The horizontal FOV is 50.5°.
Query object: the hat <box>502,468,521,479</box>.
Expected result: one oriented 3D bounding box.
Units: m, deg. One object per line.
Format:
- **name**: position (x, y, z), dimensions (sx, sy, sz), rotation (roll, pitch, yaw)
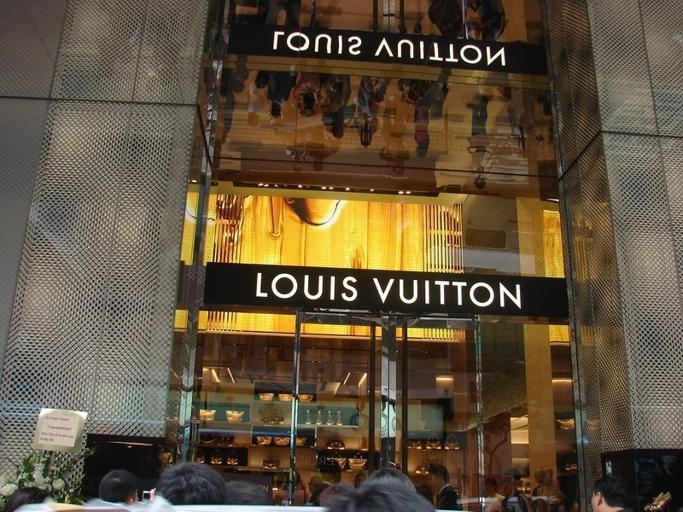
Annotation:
- **hat**: position (1.893, 2.400, 8.042), dimensions (0.153, 0.101, 0.100), rotation (1, -14, -1)
